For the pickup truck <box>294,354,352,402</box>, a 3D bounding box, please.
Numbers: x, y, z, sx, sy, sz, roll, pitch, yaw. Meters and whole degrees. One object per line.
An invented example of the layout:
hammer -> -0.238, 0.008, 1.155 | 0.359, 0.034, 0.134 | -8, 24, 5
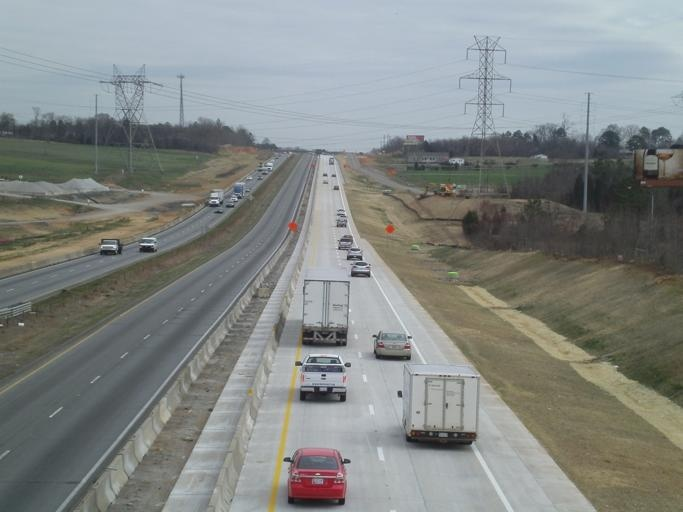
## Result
pickup truck -> -0.953, 6.892, 49.332 | 3.374, 2.550, 2.748 | 0, 2, -2

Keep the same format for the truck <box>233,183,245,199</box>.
truck -> -20.353, -12.877, 167.867 | 2.070, 3.012, 5.842 | -1, 5, -5

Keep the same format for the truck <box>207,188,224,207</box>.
truck -> -23.484, -10.441, 157.441 | 1.920, 2.591, 5.392 | 0, 4, -4

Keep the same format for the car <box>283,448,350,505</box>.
car -> -1.063, 9.572, 38.047 | 3.415, 2.090, 4.338 | 0, 1, -2

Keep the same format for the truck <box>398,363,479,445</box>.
truck -> 4.894, 7.695, 44.643 | 3.665, 3.251, 5.966 | 5, -4, -5

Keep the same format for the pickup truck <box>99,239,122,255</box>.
pickup truck -> -27.835, -1.003, 102.666 | 2.114, 1.704, 3.589 | -1, 0, -14
